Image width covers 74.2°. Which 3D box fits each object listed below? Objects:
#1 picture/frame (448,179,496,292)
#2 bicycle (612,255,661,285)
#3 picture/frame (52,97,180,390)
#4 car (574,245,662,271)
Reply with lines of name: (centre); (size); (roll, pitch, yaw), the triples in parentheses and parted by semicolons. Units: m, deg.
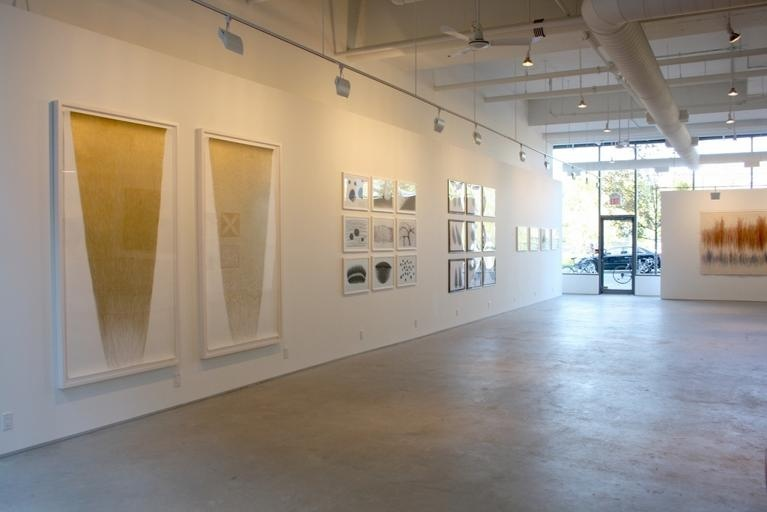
picture/frame: (2.141, -0.501, 12.536); (0.063, 2.995, 2.848); (1, 1, 34)
bicycle: (9.386, 0.467, 19.101); (1.566, 0.998, 0.840); (-2, 0, 15)
picture/frame: (-3.110, -0.165, 6.055); (0.128, 3.245, 1.527); (-1, 0, 32)
car: (9.098, 0.153, 19.563); (2.090, 0.752, 1.011); (3, 0, 20)
